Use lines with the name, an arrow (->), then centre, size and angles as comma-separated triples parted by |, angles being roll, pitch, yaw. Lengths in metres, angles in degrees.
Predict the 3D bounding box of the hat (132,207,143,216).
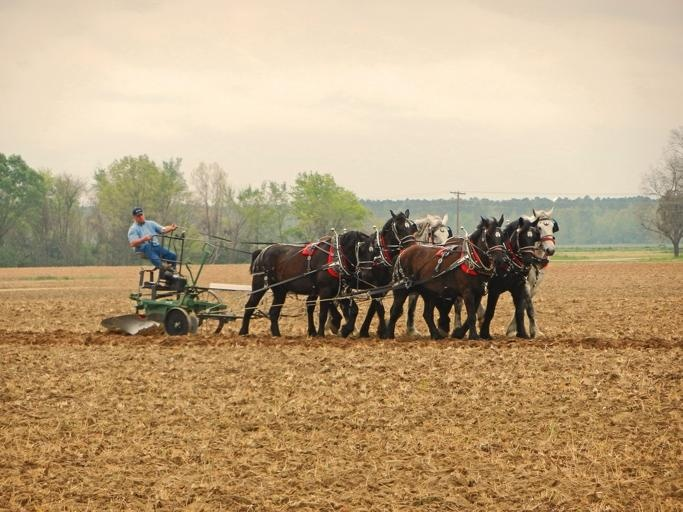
hat -> -5.054, -1.111, 26.485 | 0.213, 0.172, 0.309 | -12, 4, -38

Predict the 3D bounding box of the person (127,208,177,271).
person -> -4.687, -0.326, 26.622 | 1.195, 1.635, 1.153 | 2, 18, 12

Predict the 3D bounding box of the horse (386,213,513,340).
horse -> 2.673, 0.575, 26.288 | 1.452, 2.675, 4.077 | 3, -7, -37
